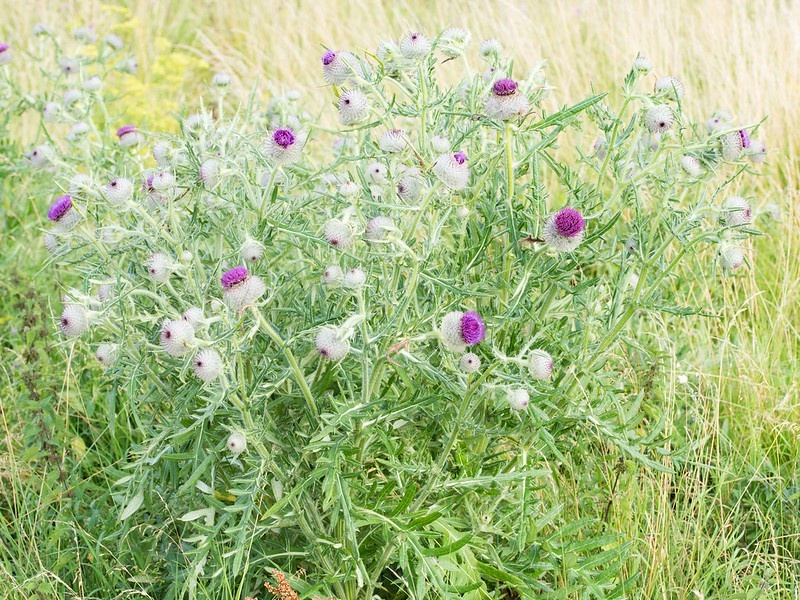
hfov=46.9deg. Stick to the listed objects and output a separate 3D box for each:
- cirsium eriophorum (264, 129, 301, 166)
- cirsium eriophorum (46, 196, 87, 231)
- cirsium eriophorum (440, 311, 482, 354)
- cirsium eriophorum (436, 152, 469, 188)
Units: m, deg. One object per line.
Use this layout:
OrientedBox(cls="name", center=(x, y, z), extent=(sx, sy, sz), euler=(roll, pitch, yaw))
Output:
OrientedBox(cls="cirsium eriophorum", center=(-0.495, -0.655, 3.884), extent=(0.119, 0.139, 0.162), euler=(-2, 80, -4))
OrientedBox(cls="cirsium eriophorum", center=(-1.463, -0.393, 4.006), extent=(0.126, 0.146, 0.161), euler=(-18, 74, -6))
OrientedBox(cls="cirsium eriophorum", center=(0.245, 0.115, 3.559), extent=(0.124, 0.155, 0.154), euler=(-7, 39, 24))
OrientedBox(cls="cirsium eriophorum", center=(0.246, -0.532, 3.730), extent=(0.128, 0.128, 0.151), euler=(-1, 91, -36))
